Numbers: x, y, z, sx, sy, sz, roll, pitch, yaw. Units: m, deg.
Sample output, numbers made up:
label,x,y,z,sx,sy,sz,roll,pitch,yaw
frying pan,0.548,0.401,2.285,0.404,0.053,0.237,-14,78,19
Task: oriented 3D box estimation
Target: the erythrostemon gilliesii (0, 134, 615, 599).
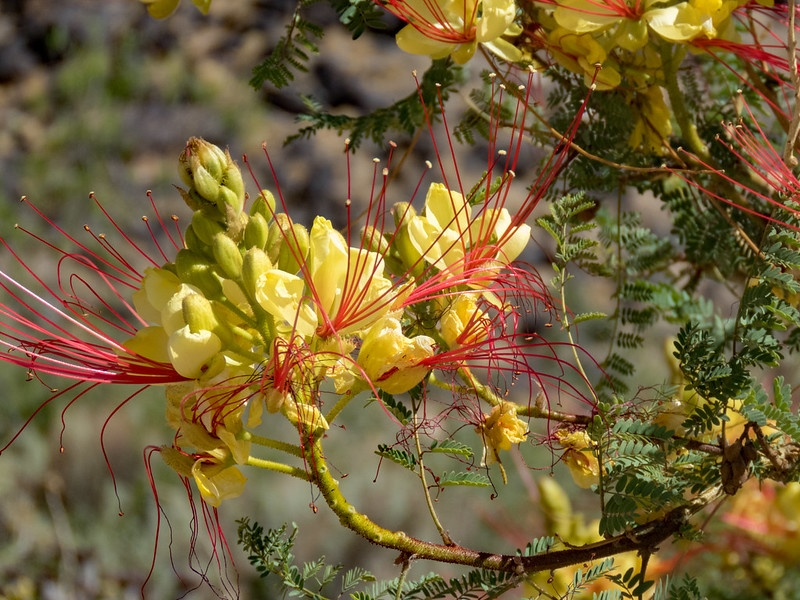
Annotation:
label,x,y,z,sx,sy,sz,roll,pitch,yaw
erythrostemon gilliesii,-0.139,0.042,2.067,0.634,0.527,0.822,-22,45,0
